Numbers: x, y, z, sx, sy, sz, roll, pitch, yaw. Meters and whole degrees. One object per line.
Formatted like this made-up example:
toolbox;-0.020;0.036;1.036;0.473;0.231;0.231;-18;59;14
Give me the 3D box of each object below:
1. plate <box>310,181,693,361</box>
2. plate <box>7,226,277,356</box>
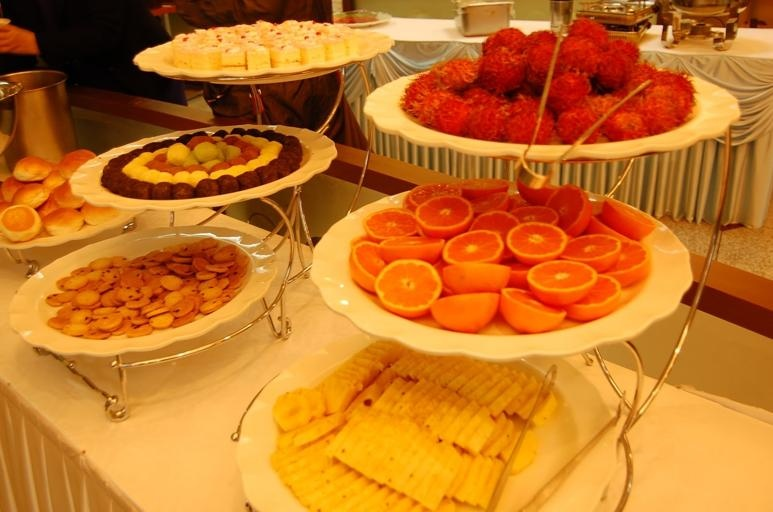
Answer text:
plate;0.163;0.061;0.811;0.387;0.038;0.359;7;31;13
plate;-0.640;0.085;1.297;0.456;0.052;0.420;7;30;14
